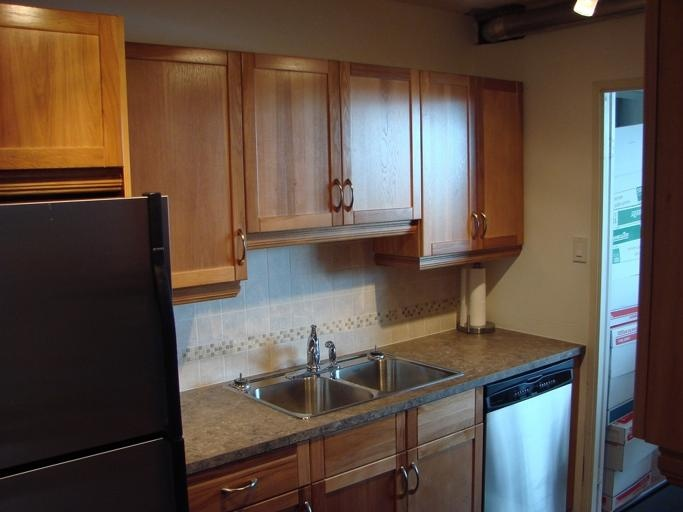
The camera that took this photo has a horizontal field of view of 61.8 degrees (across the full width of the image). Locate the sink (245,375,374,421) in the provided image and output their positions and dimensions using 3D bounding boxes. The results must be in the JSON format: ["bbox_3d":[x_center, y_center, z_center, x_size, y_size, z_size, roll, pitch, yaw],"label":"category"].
[{"bbox_3d":[-0.193,0.675,2.710,0.283,0.148,0.343,10,15,42],"label":"sink"}]
